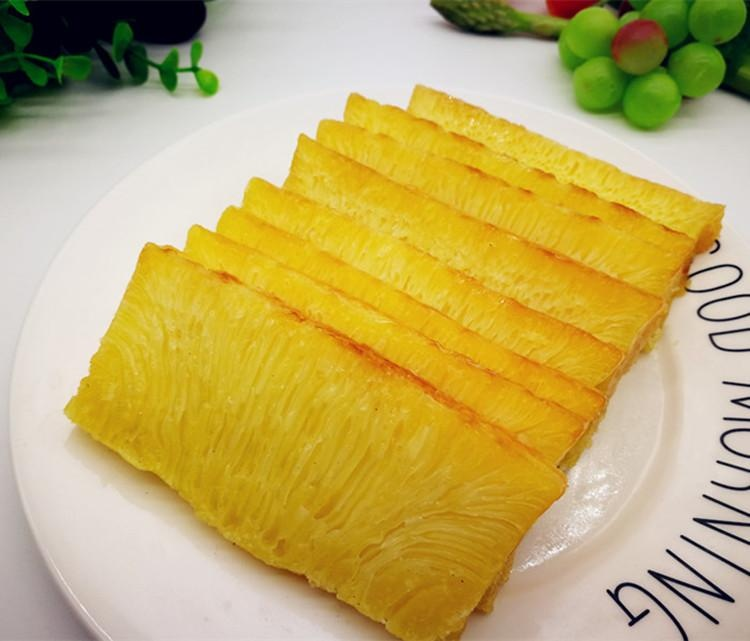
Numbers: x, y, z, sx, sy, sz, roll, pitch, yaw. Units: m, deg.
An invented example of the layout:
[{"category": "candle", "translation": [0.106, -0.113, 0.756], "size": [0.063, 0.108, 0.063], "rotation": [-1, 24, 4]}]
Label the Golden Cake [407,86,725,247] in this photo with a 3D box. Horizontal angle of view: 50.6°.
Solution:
[{"category": "Golden Cake", "translation": [0.565, -0.451, 2.385], "size": [0.857, 0.150, 0.230], "rotation": [29, 64, 12]}]

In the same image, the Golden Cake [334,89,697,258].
[{"category": "Golden Cake", "translation": [0.403, -0.419, 2.322], "size": [0.960, 0.144, 0.225], "rotation": [26, 60, 13]}]
